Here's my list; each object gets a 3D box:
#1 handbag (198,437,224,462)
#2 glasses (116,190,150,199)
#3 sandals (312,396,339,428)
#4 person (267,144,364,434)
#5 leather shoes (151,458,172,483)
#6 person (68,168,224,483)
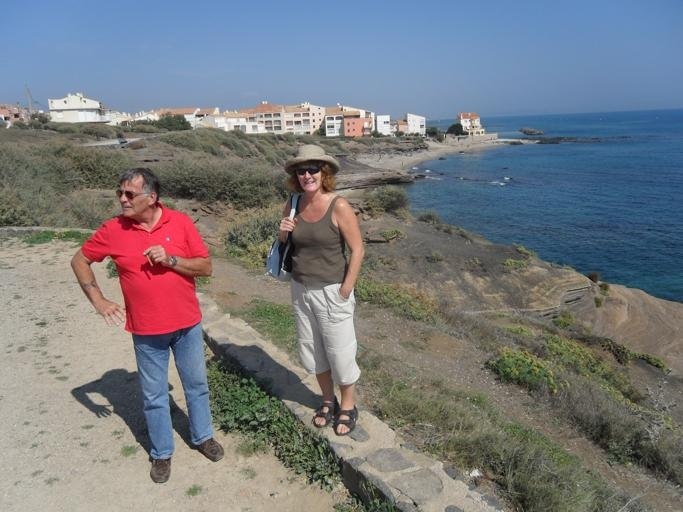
[{"bbox_3d":[-1.401,2.112,4.522,0.306,0.119,0.179,32,60,24],"label":"handbag"},{"bbox_3d":[-2.040,-0.596,3.993,0.355,0.089,0.144,3,20,15],"label":"glasses"},{"bbox_3d":[-0.172,1.800,4.778,0.155,0.146,0.415,0,0,12],"label":"sandals"},{"bbox_3d":[-0.170,0.440,4.558,0.768,3.154,1.124,-9,21,-19],"label":"person"},{"bbox_3d":[-1.835,2.190,4.244,0.114,0.128,0.329,5,-5,-24],"label":"leather shoes"},{"bbox_3d":[-1.811,0.698,4.250,1.100,3.075,0.945,-14,23,-30],"label":"person"}]
